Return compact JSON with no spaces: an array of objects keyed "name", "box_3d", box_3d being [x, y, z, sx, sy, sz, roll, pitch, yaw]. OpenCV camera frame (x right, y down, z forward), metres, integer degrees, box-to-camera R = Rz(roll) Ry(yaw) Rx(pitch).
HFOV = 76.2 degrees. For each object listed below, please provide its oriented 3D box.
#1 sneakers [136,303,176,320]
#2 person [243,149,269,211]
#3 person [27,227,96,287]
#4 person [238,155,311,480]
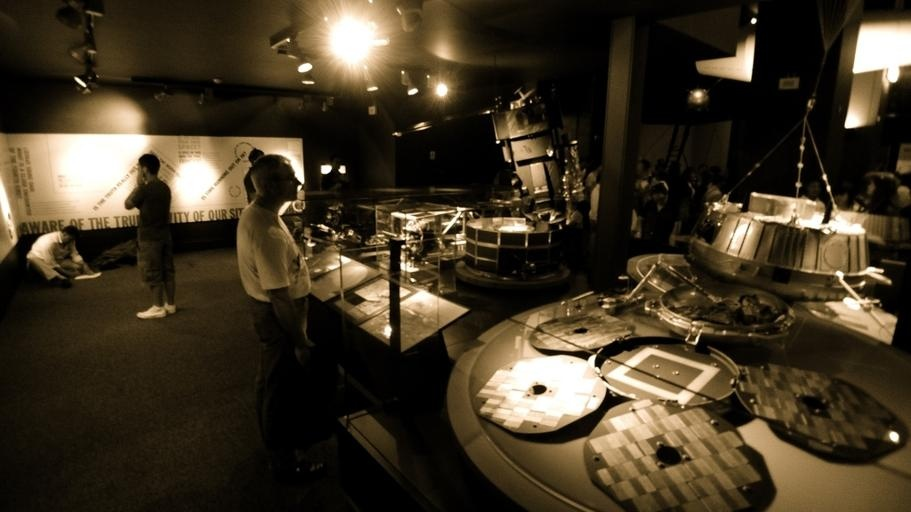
[{"name":"sneakers","box_3d":[-4.954,0.897,9.645,0.643,0.226,0.248,-2,8,-21]},{"name":"person","box_3d":[-2.932,-1.117,8.352,0.282,0.801,0.257,1,10,1]},{"name":"person","box_3d":[-7.781,0.043,11.398,1.324,1.040,1.156,7,3,-6]},{"name":"person","box_3d":[-2.073,0.707,6.837,0.801,3.691,1.088,-7,18,-14]}]
